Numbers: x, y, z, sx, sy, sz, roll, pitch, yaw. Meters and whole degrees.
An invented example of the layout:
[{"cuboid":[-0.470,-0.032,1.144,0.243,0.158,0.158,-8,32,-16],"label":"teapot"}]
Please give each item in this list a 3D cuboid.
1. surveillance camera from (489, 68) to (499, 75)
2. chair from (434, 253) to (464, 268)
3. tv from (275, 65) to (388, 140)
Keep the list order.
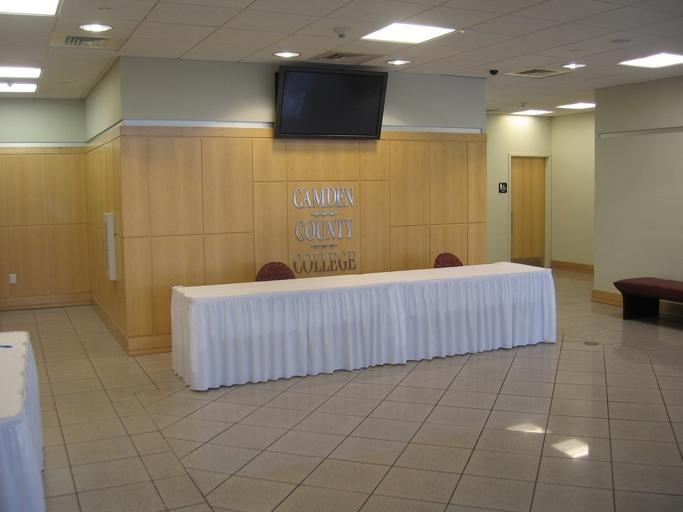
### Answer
[{"cuboid":[2.462,-3.001,7.730,0.083,0.065,0.094,-1,6,-1],"label":"surveillance camera"},{"cuboid":[1.693,0.077,7.564,0.298,0.405,0.291,-2,6,-12],"label":"chair"},{"cuboid":[-0.211,-2.309,7.041,1.156,0.713,0.156,-3,21,-19],"label":"tv"}]
